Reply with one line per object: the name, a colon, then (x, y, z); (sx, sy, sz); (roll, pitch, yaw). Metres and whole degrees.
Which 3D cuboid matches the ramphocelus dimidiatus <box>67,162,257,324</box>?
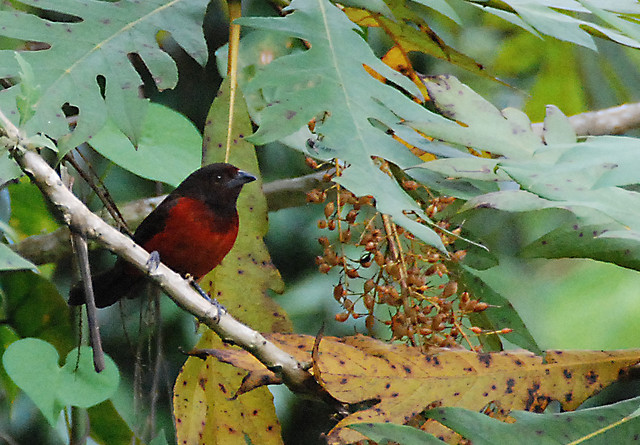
ramphocelus dimidiatus: (-0.742, 0.116, 3.966); (1.025, 0.645, 0.537); (-15, -3, 30)
